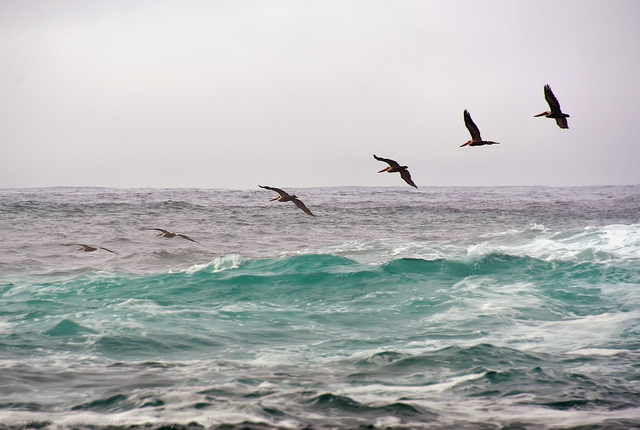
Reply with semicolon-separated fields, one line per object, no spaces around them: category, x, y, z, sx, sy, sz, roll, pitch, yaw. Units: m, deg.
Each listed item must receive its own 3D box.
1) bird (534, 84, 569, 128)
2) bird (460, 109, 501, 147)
bird;5.606;-2.574;14.116;0.614;0.990;1.520;6;12;18
bird;3.868;-2.118;14.799;0.575;0.815;1.875;5;11;14
